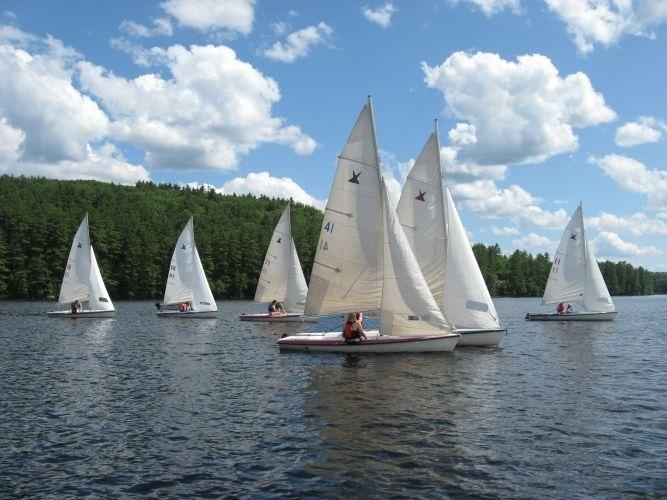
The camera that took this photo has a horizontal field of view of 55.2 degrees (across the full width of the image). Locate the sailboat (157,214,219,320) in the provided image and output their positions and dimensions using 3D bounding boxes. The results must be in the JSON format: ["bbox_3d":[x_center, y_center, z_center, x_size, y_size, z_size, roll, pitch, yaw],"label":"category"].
[{"bbox_3d":[-14.202,1.983,62.197,4.615,9.785,1.830,1,7,7],"label":"sailboat"}]

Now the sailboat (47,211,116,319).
[{"bbox_3d":[-23.520,1.736,60.117,4.047,9.823,2.303,2,7,14],"label":"sailboat"}]
